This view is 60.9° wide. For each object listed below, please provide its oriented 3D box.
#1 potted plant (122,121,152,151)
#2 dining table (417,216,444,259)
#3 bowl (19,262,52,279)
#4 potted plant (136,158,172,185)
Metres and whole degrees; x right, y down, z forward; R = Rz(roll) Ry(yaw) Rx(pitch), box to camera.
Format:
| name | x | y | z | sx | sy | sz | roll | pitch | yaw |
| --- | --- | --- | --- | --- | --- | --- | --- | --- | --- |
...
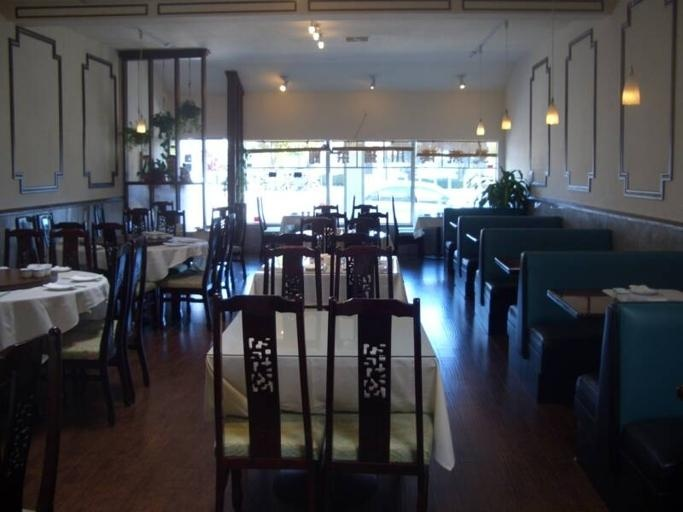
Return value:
| name | x | y | z | sx | sy | sz | roll | pitch | yaw |
| --- | --- | --- | --- | --- | --- | --- | --- | --- | --- |
| potted plant | -2.899 | -1.668 | 8.220 | 0.470 | 0.306 | 0.250 | 6 | 11 | 38 |
| dining table | 1.438 | -0.321 | 9.368 | 0.521 | 0.615 | 0.579 | 2 | 9 | 16 |
| bowl | -2.160 | 0.103 | 4.053 | 0.147 | 0.058 | 0.120 | -1 | 6 | 6 |
| potted plant | -2.645 | -1.202 | 8.239 | 0.611 | 0.372 | 0.342 | 4 | 10 | 29 |
